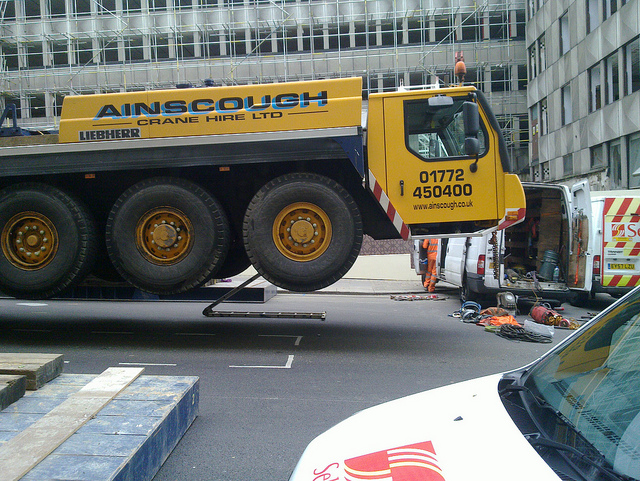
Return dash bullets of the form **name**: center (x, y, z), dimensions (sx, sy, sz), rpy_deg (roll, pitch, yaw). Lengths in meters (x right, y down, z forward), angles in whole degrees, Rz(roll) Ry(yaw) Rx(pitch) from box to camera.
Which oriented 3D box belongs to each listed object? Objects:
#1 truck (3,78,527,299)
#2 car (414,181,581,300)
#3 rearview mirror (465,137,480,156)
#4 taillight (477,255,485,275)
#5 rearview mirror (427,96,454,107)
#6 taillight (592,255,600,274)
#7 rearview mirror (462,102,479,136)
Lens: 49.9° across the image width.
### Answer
- **truck**: center (-1.210, -0.956, 12.515), dimensions (10.119, 3.651, 3.553), rpy_deg (-1, 2, 4)
- **car**: center (3.989, 0.057, 16.913), dimensions (2.427, 3.053, 5.961), rpy_deg (2, 2, -9)
- **rearview mirror**: center (2.426, -1.489, 10.882), dimensions (0.201, 0.268, 0.380), rpy_deg (-3, 10, 25)
- **taillight**: center (3.404, 0.497, 14.478), dimensions (0.047, 0.410, 0.223), rpy_deg (-1, 4, -20)
- **rearview mirror**: center (1.934, -2.232, 11.014), dimensions (0.387, 0.167, 0.123), rpy_deg (1, 4, 9)
- **taillight**: center (5.731, 0.491, 14.214), dimensions (0.128, 0.387, 0.092), rpy_deg (1, 4, 13)
- **rearview mirror**: center (2.369, -1.902, 10.769), dimensions (0.238, 0.514, 0.219), rpy_deg (1, 4, 10)
